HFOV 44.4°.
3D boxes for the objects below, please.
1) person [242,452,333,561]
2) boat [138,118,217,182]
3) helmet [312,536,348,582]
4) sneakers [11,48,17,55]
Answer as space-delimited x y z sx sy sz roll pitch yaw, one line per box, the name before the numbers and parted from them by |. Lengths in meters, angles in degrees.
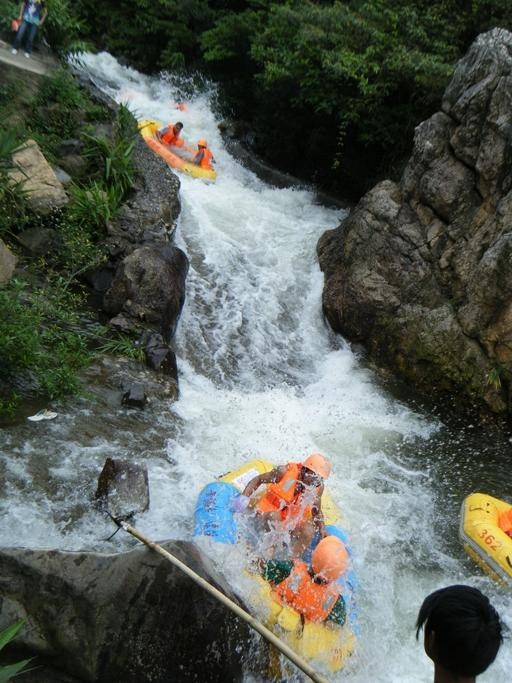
person | 0.320 1.801 6.683 0.496 0.445 0.776 50 44 -1
boat | -2.080 -4.498 14.602 1.263 0.449 2.214 -15 58 -49
helmet | 0.691 2.082 5.970 0.332 0.313 0.334 -13 47 -21
sneakers | -4.142 -4.937 10.708 0.099 0.045 0.148 -4 47 -18
